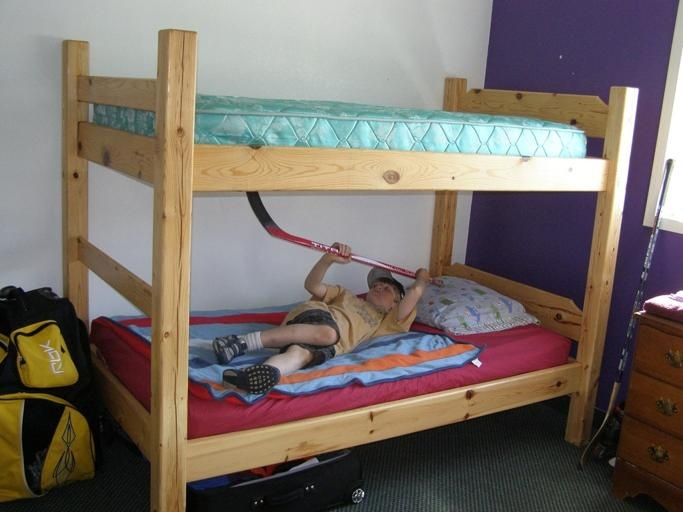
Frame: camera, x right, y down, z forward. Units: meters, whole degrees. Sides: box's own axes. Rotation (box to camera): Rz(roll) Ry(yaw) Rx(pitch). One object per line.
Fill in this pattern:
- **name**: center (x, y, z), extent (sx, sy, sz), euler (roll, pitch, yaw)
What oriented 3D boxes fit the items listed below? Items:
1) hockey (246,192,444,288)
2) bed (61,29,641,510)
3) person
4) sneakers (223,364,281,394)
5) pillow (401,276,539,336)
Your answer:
- **hockey**: center (0.090, -0.058, 2.942), extent (0.089, 0.450, 1.444), euler (-27, -17, 33)
- **bed**: center (0.031, -0.019, 2.728), extent (2.549, 1.957, 1.496), euler (-8, 20, -26)
- **person**: center (-0.078, 0.273, 2.669), extent (0.598, 0.487, 1.259), euler (22, 19, 34)
- **sneakers**: center (-0.340, 0.482, 2.108), extent (0.187, 0.095, 0.068), euler (-1, 5, -7)
- **pillow**: center (0.666, 0.286, 3.024), extent (0.386, 0.094, 0.370), euler (12, 16, 41)
